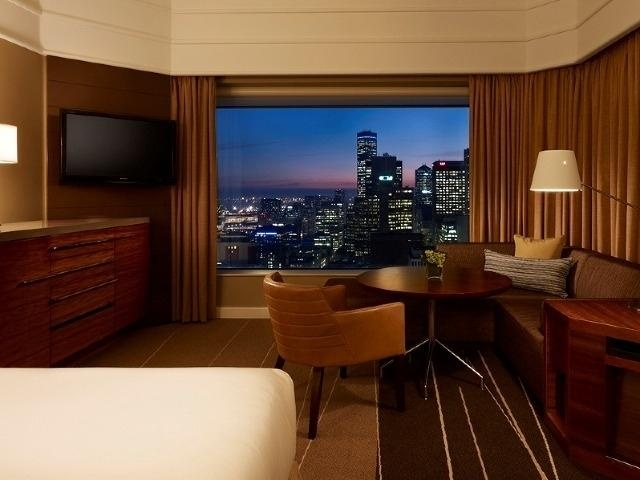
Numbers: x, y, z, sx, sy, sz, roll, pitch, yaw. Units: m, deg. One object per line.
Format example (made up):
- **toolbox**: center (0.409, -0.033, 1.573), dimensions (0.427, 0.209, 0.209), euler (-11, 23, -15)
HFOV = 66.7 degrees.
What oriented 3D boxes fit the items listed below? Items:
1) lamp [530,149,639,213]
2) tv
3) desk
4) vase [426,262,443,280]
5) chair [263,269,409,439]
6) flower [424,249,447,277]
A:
- **lamp**: center (2.351, -0.507, 4.085), dimensions (1.260, 0.372, 0.413), euler (3, 2, 10)
- **tv**: center (-2.037, -0.904, 4.797), dimensions (0.762, 0.572, 0.080), euler (-1, 6, -20)
- **desk**: center (0.859, 0.588, 3.881), dimensions (0.911, 0.726, 0.980), euler (-1, 13, -3)
- **vase**: center (0.886, 0.246, 3.776), dimensions (0.112, 0.177, 0.114), euler (1, -6, -7)
- **chair**: center (0.127, 0.697, 3.564), dimensions (0.932, 1.006, 1.038), euler (0, 11, 10)
- **flower**: center (0.886, 0.183, 3.799), dimensions (0.142, 0.218, 0.160), euler (2, 9, 7)
